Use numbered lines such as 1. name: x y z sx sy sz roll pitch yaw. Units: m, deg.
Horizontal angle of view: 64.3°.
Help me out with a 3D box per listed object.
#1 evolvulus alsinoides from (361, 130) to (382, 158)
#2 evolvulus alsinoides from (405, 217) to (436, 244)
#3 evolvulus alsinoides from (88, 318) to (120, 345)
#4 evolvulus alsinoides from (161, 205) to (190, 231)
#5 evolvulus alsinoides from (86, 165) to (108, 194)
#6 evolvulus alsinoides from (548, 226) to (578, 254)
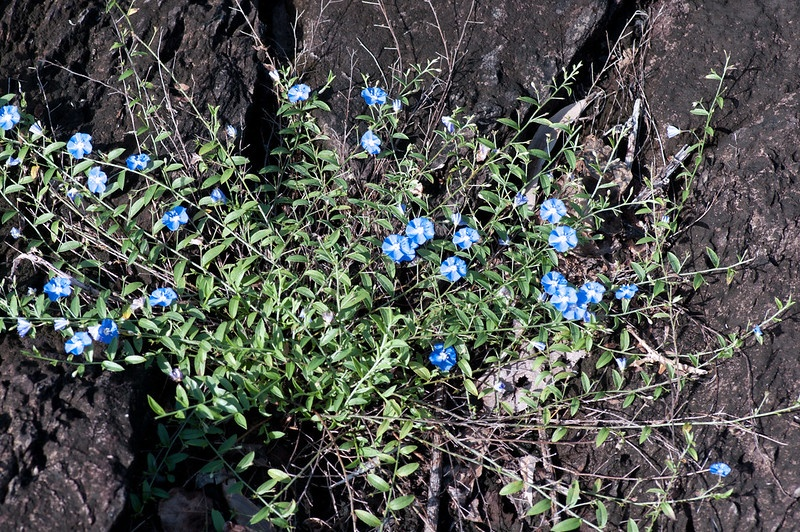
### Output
1. evolvulus alsinoides: -0.195 -0.840 4.366 0.114 0.161 0.169 -31 79 -17
2. evolvulus alsinoides: 0.124 -0.226 4.011 0.172 0.098 0.157 -19 77 -15
3. evolvulus alsinoides: -1.725 0.397 3.758 0.157 0.068 0.167 34 105 2
4. evolvulus alsinoides: -1.447 -0.289 4.151 0.145 0.198 0.152 -3 72 -10
5. evolvulus alsinoides: -1.957 -0.554 4.195 0.150 0.061 0.183 18 85 8
6. evolvulus alsinoides: 1.029 -0.183 4.017 0.165 0.100 0.148 26 70 -1
